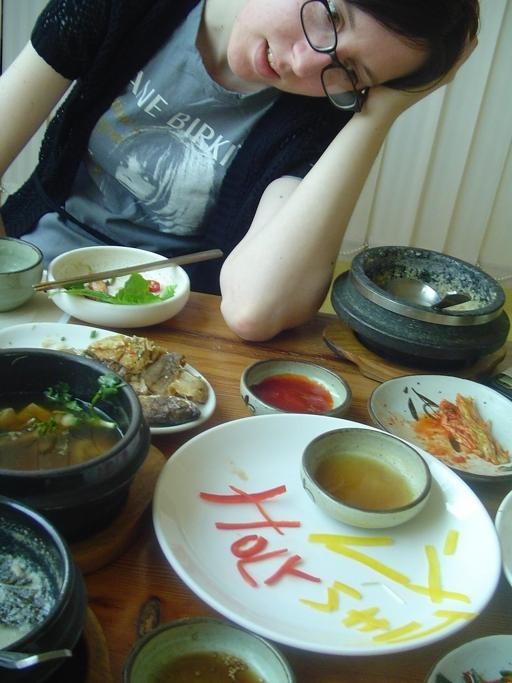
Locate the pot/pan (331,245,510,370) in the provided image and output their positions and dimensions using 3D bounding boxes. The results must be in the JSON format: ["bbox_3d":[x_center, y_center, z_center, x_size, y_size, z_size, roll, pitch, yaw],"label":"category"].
[{"bbox_3d":[0.325,-0.069,1.247,0.334,0.109,0.305,-5,37,-7],"label":"pot/pan"}]

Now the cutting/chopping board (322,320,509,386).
[{"bbox_3d":[0.257,0.035,1.206,0.196,0.043,0.178,-22,38,-30],"label":"cutting/chopping board"}]

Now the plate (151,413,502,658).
[{"bbox_3d":[0.092,0.234,0.678,0.323,0.041,0.312,11,21,14],"label":"plate"}]

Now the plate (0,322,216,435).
[{"bbox_3d":[-0.227,0.029,0.982,0.298,0.038,0.190,26,25,21],"label":"plate"}]

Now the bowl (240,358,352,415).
[{"bbox_3d":[0.055,0.078,1.001,0.123,0.045,0.106,1,28,-5],"label":"bowl"}]

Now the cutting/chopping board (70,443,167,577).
[{"bbox_3d":[-0.148,0.194,0.706,0.047,0.034,0.219,15,22,10],"label":"cutting/chopping board"}]
